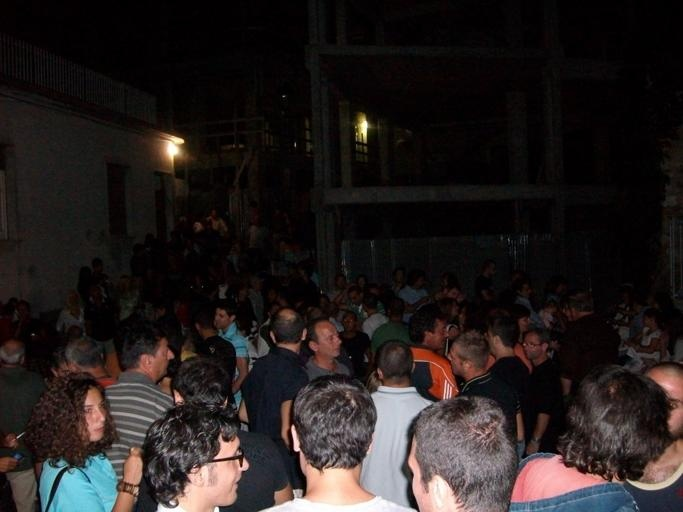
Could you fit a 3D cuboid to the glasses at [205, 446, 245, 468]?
[{"bbox_3d":[-0.633,1.169,3.182,0.074,0.104,0.262,0,-2,33],"label":"glasses"}]
